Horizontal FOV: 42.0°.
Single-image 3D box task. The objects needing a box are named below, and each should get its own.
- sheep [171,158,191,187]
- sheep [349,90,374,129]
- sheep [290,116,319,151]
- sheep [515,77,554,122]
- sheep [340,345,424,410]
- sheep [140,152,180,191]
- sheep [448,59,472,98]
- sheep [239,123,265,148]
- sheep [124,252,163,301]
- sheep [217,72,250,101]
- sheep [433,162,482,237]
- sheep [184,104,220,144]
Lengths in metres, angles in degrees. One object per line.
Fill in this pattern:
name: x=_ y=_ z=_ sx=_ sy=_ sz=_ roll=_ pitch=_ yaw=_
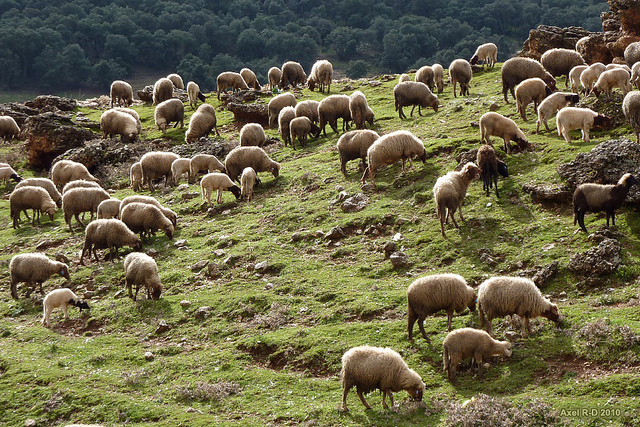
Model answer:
sheep: x=-7.563 y=-2.309 z=45.689 sx=1.092 sy=1.560 sz=0.632 roll=-7 pitch=6 yaw=-7
sheep: x=2.253 y=-5.932 z=47.312 sx=1.062 sy=2.157 sz=1.651 roll=-5 pitch=6 yaw=15
sheep: x=-1.039 y=-4.667 z=48.062 sx=0.751 sy=1.902 sz=1.686 roll=-1 pitch=7 yaw=42
sheep: x=11.238 y=-6.183 z=43.809 sx=2.813 sy=2.064 sz=0.889 roll=-17 pitch=18 yaw=-32
sheep: x=2.404 y=6.465 z=32.154 sx=3.323 sy=2.307 sz=1.453 roll=3 pitch=-3 yaw=21
sheep: x=-8.701 y=-2.416 z=46.454 sx=1.226 sy=2.074 sz=3.072 roll=2 pitch=8 yaw=40
sheep: x=8.522 y=-8.271 z=50.536 sx=1.243 sy=2.358 sz=1.846 roll=-6 pitch=6 yaw=8
sheep: x=-3.891 y=-4.501 z=47.432 sx=0.825 sy=1.339 sz=1.479 roll=-2 pitch=7 yaw=41
sheep: x=-7.995 y=2.862 z=37.491 sx=1.839 sy=2.116 sz=0.958 roll=-2 pitch=7 yaw=39
sheep: x=-6.801 y=-10.124 z=64.949 sx=0.974 sy=1.871 sz=3.641 roll=-6 pitch=-4 yaw=43
sheep: x=5.969 y=-0.652 z=36.879 sx=1.873 sy=3.052 sz=0.792 roll=-9 pitch=6 yaw=-28
sheep: x=-7.359 y=-5.663 z=51.678 sx=0.947 sy=2.322 sz=2.444 roll=-2 pitch=7 yaw=38
